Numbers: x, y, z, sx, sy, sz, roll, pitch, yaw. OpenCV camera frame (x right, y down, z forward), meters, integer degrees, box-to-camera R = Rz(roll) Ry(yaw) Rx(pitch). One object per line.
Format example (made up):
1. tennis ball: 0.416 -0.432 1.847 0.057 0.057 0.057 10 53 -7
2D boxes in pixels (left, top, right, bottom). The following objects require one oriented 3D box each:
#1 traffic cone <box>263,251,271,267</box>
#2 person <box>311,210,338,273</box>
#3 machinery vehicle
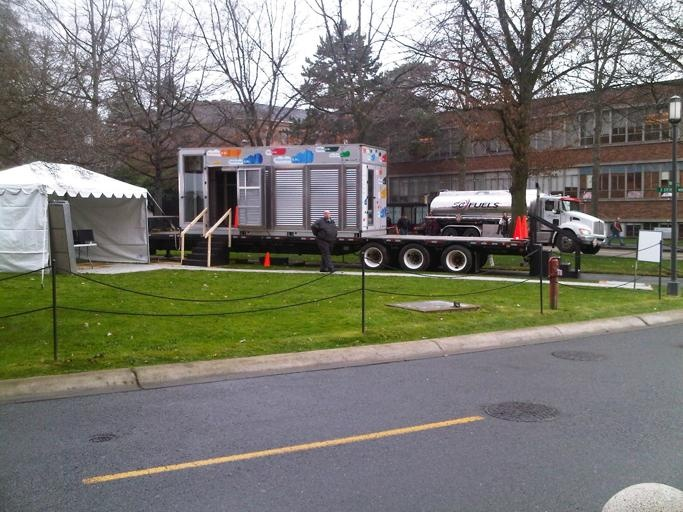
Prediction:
1. traffic cone: -2.808 0.118 25.717 0.374 0.544 0.377 8 -17 -25
2. person: -0.588 -0.510 23.226 0.780 1.964 1.365 2 7 4
3. machinery vehicle: 9.033 -1.646 38.625 10.955 4.228 3.798 0 3 27
